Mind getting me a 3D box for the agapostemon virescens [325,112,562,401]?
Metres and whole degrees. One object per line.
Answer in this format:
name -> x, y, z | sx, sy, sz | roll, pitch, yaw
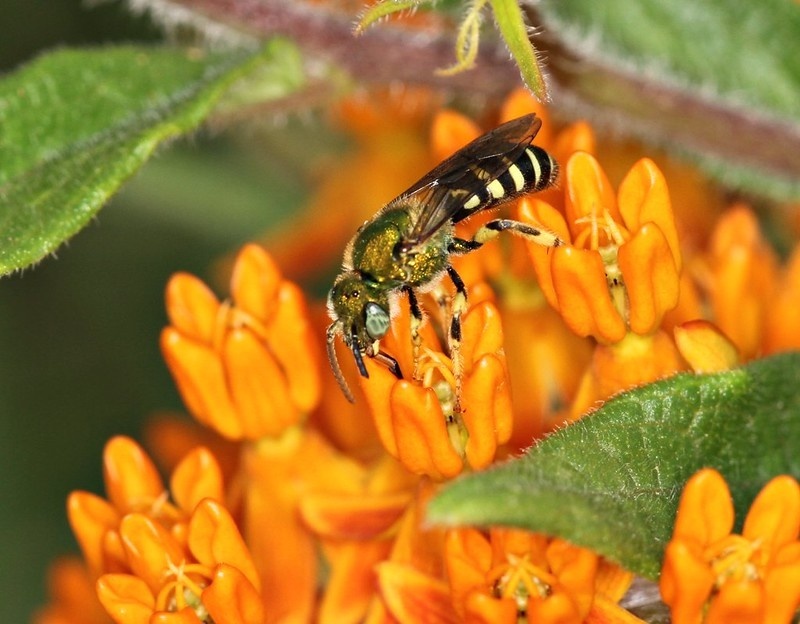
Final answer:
agapostemon virescens -> 0.076, -0.035, 1.366 | 0.368, 0.117, 0.266 | -53, 29, 3
